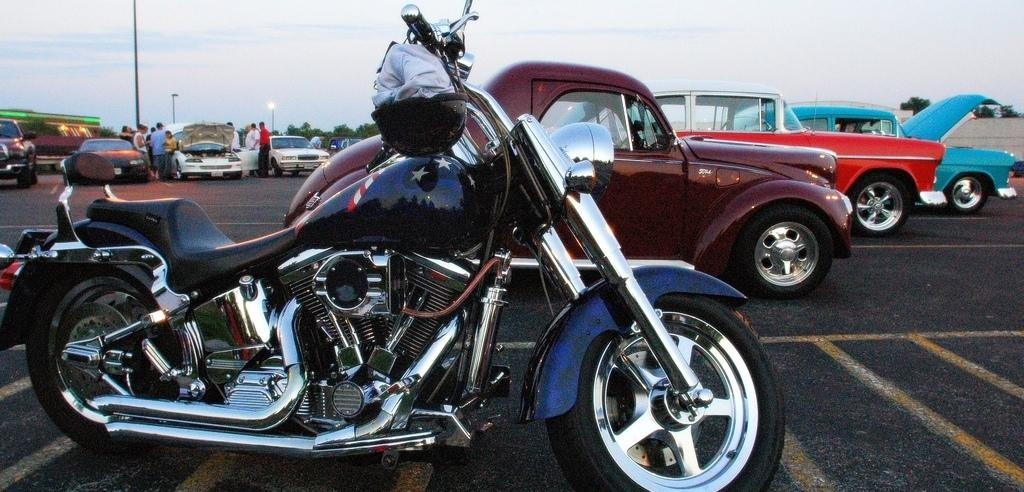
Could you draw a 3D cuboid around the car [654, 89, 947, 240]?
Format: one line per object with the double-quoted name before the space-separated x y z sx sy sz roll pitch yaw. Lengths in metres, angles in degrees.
"car" 5.714 -1.916 13.134 6.162 2.417 3.361 -1 11 -1
